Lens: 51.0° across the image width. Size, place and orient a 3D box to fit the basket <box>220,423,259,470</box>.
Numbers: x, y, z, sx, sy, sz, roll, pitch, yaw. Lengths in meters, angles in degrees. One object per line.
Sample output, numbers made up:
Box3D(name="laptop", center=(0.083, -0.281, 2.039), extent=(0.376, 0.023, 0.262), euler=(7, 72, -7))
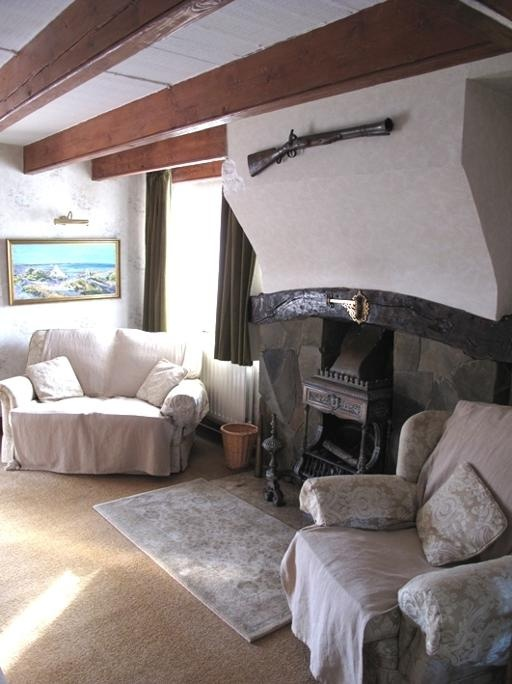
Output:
Box3D(name="basket", center=(-0.120, 0.757, 3.899), extent=(0.249, 0.321, 0.255), euler=(1, 7, -3))

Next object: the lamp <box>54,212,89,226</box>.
Box3D(name="lamp", center=(-1.647, -1.115, 4.840), extent=(0.301, 0.137, 0.300), euler=(0, 7, -18))
